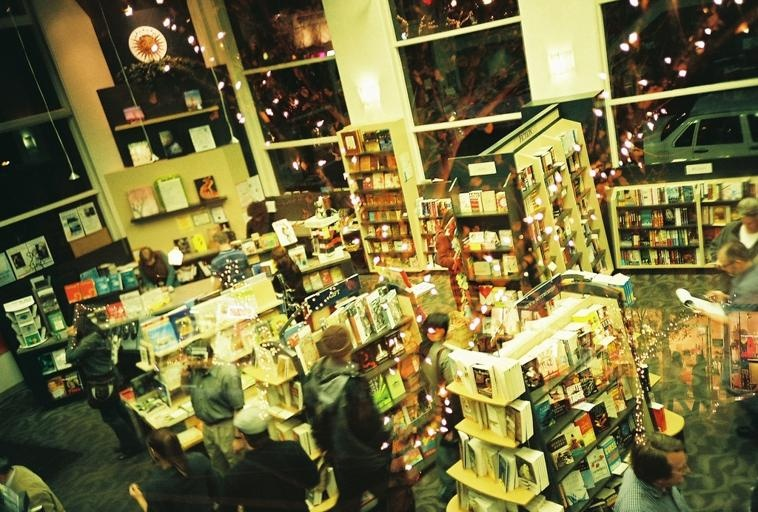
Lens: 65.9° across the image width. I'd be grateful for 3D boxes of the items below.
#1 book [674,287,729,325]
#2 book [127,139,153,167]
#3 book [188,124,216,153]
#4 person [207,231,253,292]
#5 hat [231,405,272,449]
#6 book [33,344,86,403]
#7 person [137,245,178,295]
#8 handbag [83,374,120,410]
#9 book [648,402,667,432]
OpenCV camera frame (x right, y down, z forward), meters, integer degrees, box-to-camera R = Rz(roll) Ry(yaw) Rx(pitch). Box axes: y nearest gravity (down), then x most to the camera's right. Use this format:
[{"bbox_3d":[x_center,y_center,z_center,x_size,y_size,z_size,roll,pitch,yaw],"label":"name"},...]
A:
[{"bbox_3d":[4.333,0.713,7.803,0.289,0.135,0.558,-7,26,-7],"label":"book"},{"bbox_3d":[-4.400,-1.875,10.724,0.471,0.456,0.142,-15,15,-25],"label":"book"},{"bbox_3d":[-3.438,-2.268,11.313,0.133,0.524,0.579,3,14,41],"label":"book"},{"bbox_3d":[-2.511,0.112,9.712,0.543,1.148,0.385,-26,33,-4],"label":"person"},{"bbox_3d":[-1.547,2.101,7.165,0.458,0.206,0.578,-7,43,-9],"label":"hat"},{"bbox_3d":[-5.441,2.005,9.893,0.655,0.879,0.297,-18,17,-27],"label":"book"},{"bbox_3d":[-3.966,0.275,10.363,0.489,0.982,0.555,-10,58,17],"label":"person"},{"bbox_3d":[-3.931,1.904,8.311,0.483,0.359,0.460,-4,6,-13],"label":"handbag"},{"bbox_3d":[3.323,1.925,6.991,0.102,0.251,0.262,-13,22,13],"label":"book"}]
